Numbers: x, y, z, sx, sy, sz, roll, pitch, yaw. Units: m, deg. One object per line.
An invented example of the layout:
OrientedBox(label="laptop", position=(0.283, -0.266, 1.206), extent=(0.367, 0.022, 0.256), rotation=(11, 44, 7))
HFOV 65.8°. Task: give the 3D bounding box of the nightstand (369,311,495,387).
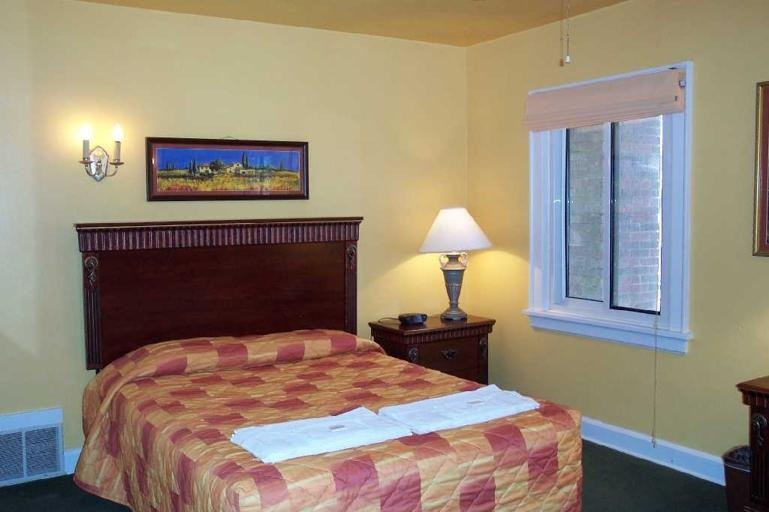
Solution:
OrientedBox(label="nightstand", position=(0.447, 1.029, 5.450), extent=(0.911, 0.842, 0.601), rotation=(-3, 2, -26))

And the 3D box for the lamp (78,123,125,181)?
OrientedBox(label="lamp", position=(-2.138, -0.775, 4.529), extent=(0.313, 0.417, 0.176), rotation=(-6, 7, -24))
